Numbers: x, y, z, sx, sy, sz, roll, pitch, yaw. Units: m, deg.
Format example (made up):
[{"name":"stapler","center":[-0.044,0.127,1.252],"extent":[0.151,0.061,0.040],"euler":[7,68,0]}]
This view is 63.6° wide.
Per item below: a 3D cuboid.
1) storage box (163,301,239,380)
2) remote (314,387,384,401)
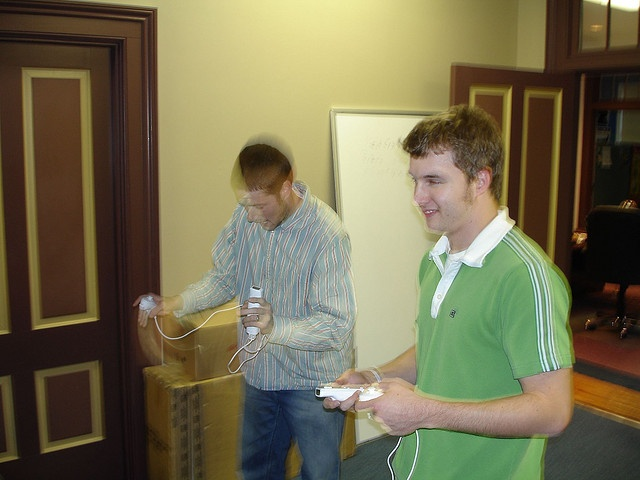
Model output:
[{"name":"storage box","center":[-0.709,0.533,2.972],"extent":[0.429,0.324,0.458],"euler":[-5,8,-28]},{"name":"remote","center":[0.099,0.503,1.705],"extent":[0.136,0.033,0.075],"euler":[0,0,13]}]
